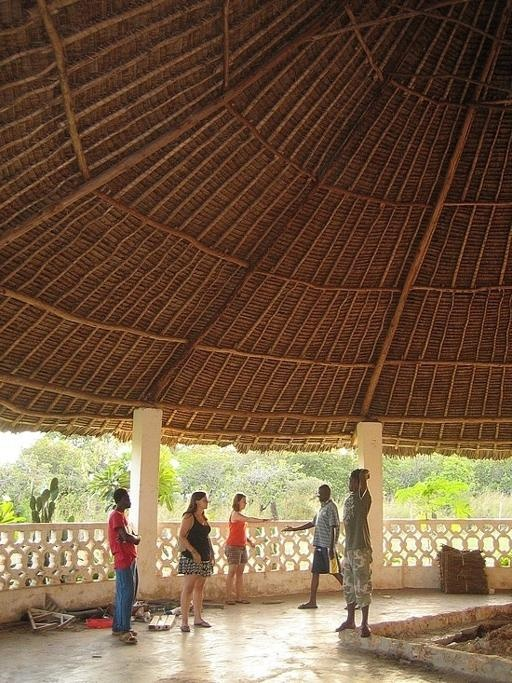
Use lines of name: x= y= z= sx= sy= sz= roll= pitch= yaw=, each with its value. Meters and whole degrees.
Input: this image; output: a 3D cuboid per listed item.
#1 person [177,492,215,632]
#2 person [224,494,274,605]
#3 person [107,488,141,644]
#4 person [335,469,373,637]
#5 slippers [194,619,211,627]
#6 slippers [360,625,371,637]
person: x=-0.652 y=2.362 z=5.839 sx=0.371 sy=1.474 sz=0.774 roll=2 pitch=-11 yaw=-5
person: x=-0.164 y=2.981 z=7.759 sx=0.551 sy=1.615 sz=1.311 roll=1 pitch=-11 yaw=-1
person: x=-1.276 y=2.169 z=5.225 sx=0.325 sy=1.456 sz=0.556 roll=3 pitch=-11 yaw=-11
person: x=0.922 y=2.008 z=5.104 sx=0.335 sy=1.572 sz=0.697 roll=0 pitch=-11 yaw=6
slippers: x=-0.580 y=3.073 z=5.906 sx=0.151 sy=0.053 sz=0.075 roll=-6 pitch=-11 yaw=22
slippers: x=0.966 y=2.591 z=4.801 sx=0.086 sy=0.084 sz=0.124 roll=0 pitch=-11 yaw=4
